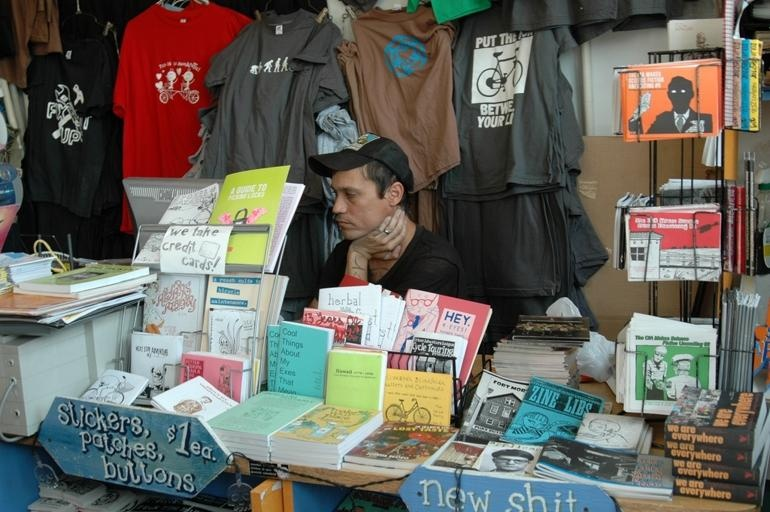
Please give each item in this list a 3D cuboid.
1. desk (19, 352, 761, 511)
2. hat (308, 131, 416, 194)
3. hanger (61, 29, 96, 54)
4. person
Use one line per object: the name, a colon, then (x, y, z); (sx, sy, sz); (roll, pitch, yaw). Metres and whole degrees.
desk: (0.277, 0.614, 2.122); (1.568, 0.242, 0.745); (1, 4, -5)
hat: (-0.117, -0.462, 3.131); (0.451, 0.227, 0.278); (19, 4, -12)
hanger: (-2.086, -1.459, 4.306); (0.232, 0.184, 0.085); (2, 4, 20)
person: (-0.007, -0.164, 3.251); (0.671, 0.898, 0.836); (-9, 14, -36)
